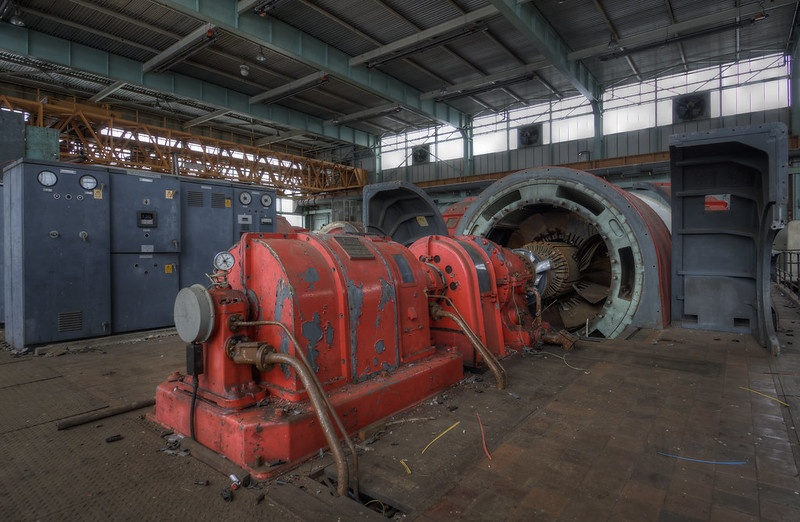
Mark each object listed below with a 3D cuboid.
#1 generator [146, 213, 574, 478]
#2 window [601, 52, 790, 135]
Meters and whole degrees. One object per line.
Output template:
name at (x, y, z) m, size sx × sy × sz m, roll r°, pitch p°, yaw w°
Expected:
generator at (-0.277, 0.808, 5.874) m, size 2.376 × 1.550 × 4.305 m, roll 1°, pitch 3°, yaw 42°
window at (12.720, -7.045, 18.858) m, size 5.622 × 2.189 × 0.355 m, roll 0°, pitch 4°, yaw 31°
